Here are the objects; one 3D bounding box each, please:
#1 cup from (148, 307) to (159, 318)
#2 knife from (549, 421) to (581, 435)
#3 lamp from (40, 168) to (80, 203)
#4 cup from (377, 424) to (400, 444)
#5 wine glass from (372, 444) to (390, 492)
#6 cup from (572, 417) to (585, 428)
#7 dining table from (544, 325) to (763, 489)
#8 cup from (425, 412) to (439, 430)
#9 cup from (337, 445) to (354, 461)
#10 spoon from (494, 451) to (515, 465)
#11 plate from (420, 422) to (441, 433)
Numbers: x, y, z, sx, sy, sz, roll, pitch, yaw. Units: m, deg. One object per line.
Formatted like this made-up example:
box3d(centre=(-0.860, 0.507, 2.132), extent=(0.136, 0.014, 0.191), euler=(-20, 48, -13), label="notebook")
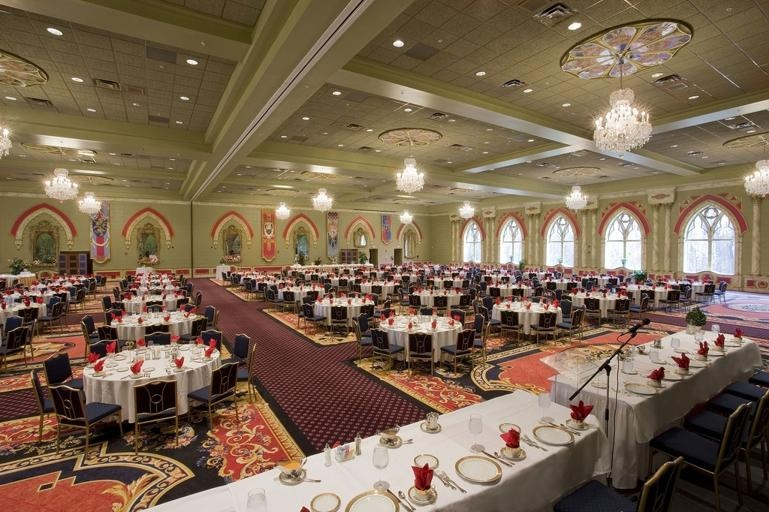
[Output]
box3d(centre=(-5.516, 1.365, 10.354), extent=(0.256, 0.227, 0.244), euler=(1, -1, 0), label="cup")
box3d(centre=(2.306, 2.166, 5.499), extent=(0.372, 0.046, 0.139), euler=(8, 33, 24), label="knife")
box3d(centre=(-10.553, -2.307, 14.102), extent=(0.704, 0.976, 1.603), euler=(-9, 16, -32), label="lamp")
box3d(centre=(0.063, 2.229, 5.405), extent=(0.322, 0.175, 0.303), euler=(-1, -6, 0), label="cup")
box3d(centre=(-0.032, 2.301, 4.804), extent=(0.184, 0.501, 0.300), euler=(-1, 14, -2), label="wine glass")
box3d(centre=(2.473, 2.119, 5.500), extent=(0.118, 0.079, 0.113), euler=(-1, 3, 0), label="cup")
box3d(centre=(4.286, 2.148, 6.773), extent=(3.496, 0.805, 1.813), euler=(0, -2, -33), label="dining table")
box3d(centre=(0.606, 2.097, 5.520), extent=(0.208, 0.137, 0.196), euler=(0, -9, 0), label="cup")
box3d(centre=(-0.459, 2.318, 5.150), extent=(0.209, 0.179, 0.163), euler=(2, 9, -5), label="cup")
box3d(centre=(1.400, 2.377, 5.058), extent=(0.084, 0.029, 0.251), euler=(-18, 18, -30), label="spoon")
box3d(centre=(0.591, 2.153, 5.456), extent=(0.185, 0.068, 0.176), euler=(4, -7, -34), label="plate")
